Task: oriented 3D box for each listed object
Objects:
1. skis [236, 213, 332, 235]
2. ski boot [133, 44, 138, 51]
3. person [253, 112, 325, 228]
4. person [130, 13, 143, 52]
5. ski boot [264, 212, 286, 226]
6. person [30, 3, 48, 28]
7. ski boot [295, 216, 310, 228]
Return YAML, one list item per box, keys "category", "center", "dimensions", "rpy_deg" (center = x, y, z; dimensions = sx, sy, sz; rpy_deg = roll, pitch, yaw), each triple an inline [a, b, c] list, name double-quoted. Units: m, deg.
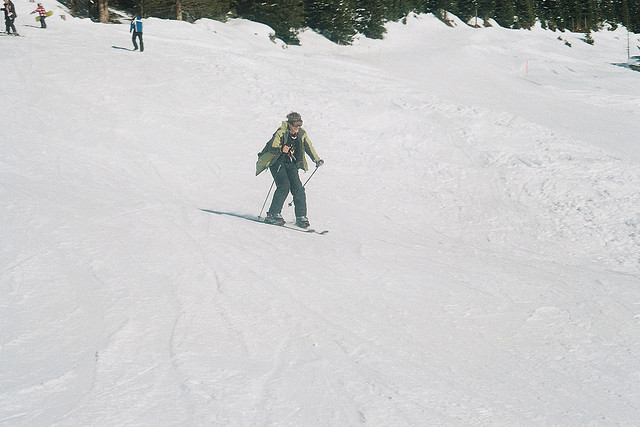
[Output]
- category: "skis"
  center: [-1.041, 0.303, 23.577]
  dimensions: [2.259, 0.152, 0.216]
  rpy_deg: [9, 25, 5]
- category: "ski boot"
  center: [-6.671, -5.976, 32.224]
  dimensions: [0.207, 0.254, 0.228]
  rpy_deg: [-1, 1, -3]
- category: "person"
  center: [-0.876, -1.165, 23.632]
  dimensions: [1.519, 3.017, 0.773]
  rpy_deg: [3, 19, -2]
- category: "person"
  center: [-6.639, -6.461, 32.187]
  dimensions: [0.404, 1.220, 1.130]
  rpy_deg: [-1, 17, -12]
- category: "ski boot"
  center: [-1.238, 0.167, 23.797]
  dimensions: [0.566, 0.186, 0.274]
  rpy_deg: [5, 15, -10]
- category: "person"
  center: [-10.878, -7.669, 34.688]
  dimensions: [0.398, 0.867, 1.525]
  rpy_deg: [-2, 16, -16]
- category: "ski boot"
  center: [-0.476, 0.220, 23.764]
  dimensions: [0.272, 0.257, 0.463]
  rpy_deg: [-4, 16, -20]
